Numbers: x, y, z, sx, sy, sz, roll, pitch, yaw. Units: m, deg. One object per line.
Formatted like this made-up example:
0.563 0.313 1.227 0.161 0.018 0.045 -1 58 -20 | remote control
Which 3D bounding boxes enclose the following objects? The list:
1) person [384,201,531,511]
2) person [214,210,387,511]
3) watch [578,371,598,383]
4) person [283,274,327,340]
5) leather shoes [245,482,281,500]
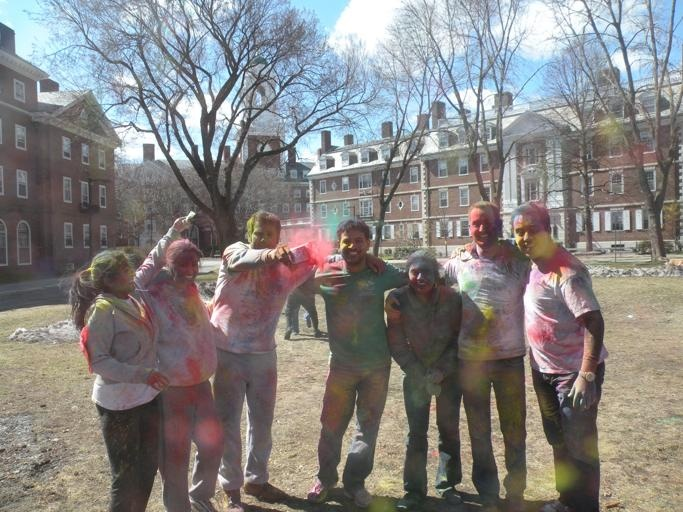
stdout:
1.463 0.954 5.929 0.787 2.643 0.398 -3 1 19 | person
-0.800 1.013 5.930 0.950 2.942 0.851 -3 1 -10 | person
2.172 1.070 5.358 0.077 0.068 0.113 12 -3 1 | watch
-0.639 0.954 10.244 0.684 0.753 1.956 -19 -3 -9 | person
-0.778 2.379 6.149 0.390 0.201 0.154 4 1 7 | leather shoes
